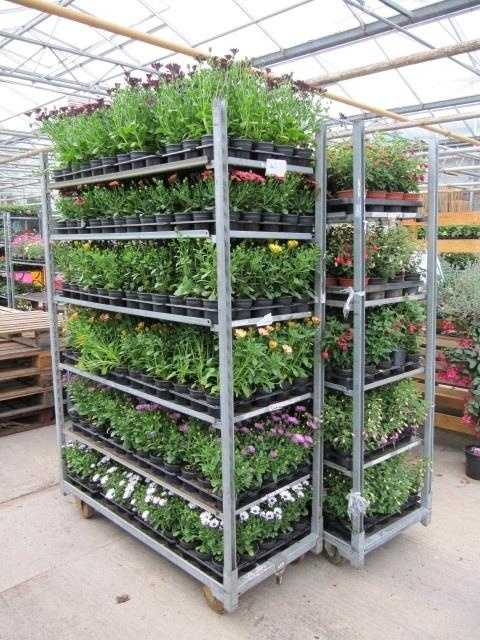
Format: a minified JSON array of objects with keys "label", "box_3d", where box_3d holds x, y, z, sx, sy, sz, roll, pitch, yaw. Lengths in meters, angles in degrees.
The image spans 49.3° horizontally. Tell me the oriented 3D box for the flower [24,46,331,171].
[{"label":"flower","box_3d":[-0.155,-0.962,2.711,1.294,0.356,0.826,-19,27,-32]}]
